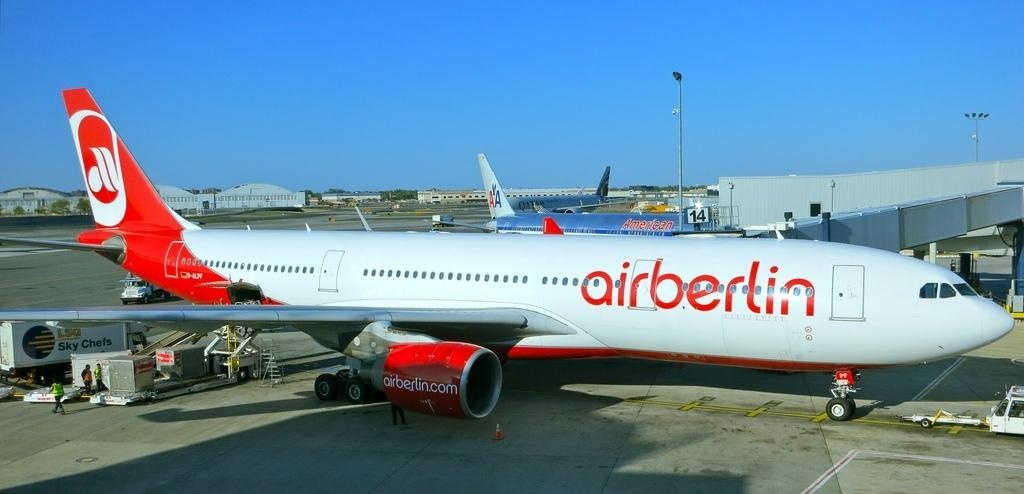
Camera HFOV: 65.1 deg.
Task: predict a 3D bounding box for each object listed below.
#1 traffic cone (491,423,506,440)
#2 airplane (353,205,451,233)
[{"bbox_3d":[-0.504,7.998,34.545,0.608,0.401,0.484,-9,11,-20],"label":"traffic cone"},{"bbox_3d":[-16.521,-4.327,120.133,13.203,3.169,9.083,-2,19,-4],"label":"airplane"}]
